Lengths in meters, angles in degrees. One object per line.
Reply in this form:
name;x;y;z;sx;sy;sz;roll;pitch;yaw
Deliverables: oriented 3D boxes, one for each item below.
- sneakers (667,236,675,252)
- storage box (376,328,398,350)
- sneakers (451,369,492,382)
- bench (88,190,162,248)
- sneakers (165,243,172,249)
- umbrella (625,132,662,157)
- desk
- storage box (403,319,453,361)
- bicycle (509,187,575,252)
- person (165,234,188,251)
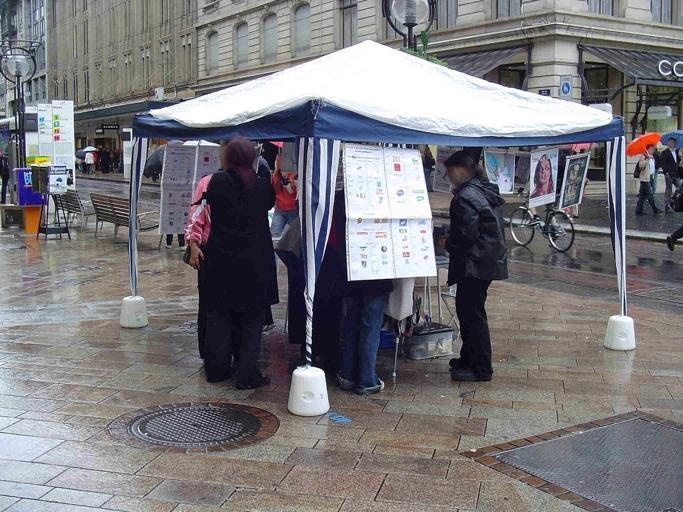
sneakers;7.690;-0.303;13.126;0.150;0.348;0.122;-24;14;-13
storage box;0.506;0.941;6.321;0.242;0.230;0.204;8;-4;-34
sneakers;1.302;1.170;5.639;0.398;0.149;0.142;4;3;1
bench;-6.010;-0.931;15.414;0.980;1.222;2.758;10;1;0
sneakers;-4.283;-0.264;13.893;0.120;0.141;0.343;0;8;-16
umbrella;9.957;-3.762;18.513;0.852;0.718;1.078;2;7;22
desk;0.262;0.495;6.004;1.747;1.729;1.258;0;11;4
storage box;0.881;0.915;6.091;0.636;0.281;0.624;-1;2;13
bicycle;4.979;-0.899;13.972;1.123;1.363;2.342;-8;12;-21
person;-4.069;-0.388;13.795;0.790;0.486;0.759;0;0;-8
